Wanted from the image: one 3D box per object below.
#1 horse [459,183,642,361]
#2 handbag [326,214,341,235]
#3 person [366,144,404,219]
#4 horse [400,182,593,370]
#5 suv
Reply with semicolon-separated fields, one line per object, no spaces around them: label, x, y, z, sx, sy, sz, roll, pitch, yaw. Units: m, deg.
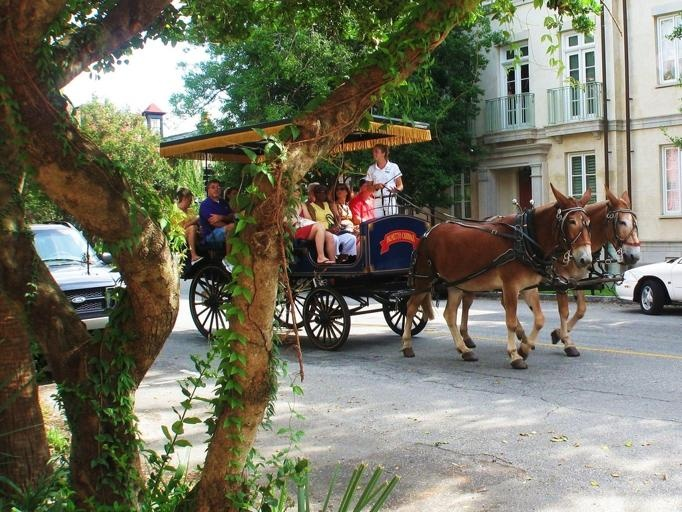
horse;3.301;0.360;12.303;3.556;2.777;0.943;-4;1;44
handbag;-0.132;-0.494;12.226;0.254;0.094;0.340;24;16;-38
person;0.727;-1.027;12.618;0.737;1.639;0.466;5;17;17
horse;2.180;0.410;10.789;0.943;2.373;3.241;1;-3;-42
suv;-4.225;0.283;11.566;1.102;1.464;2.772;-3;5;-24
